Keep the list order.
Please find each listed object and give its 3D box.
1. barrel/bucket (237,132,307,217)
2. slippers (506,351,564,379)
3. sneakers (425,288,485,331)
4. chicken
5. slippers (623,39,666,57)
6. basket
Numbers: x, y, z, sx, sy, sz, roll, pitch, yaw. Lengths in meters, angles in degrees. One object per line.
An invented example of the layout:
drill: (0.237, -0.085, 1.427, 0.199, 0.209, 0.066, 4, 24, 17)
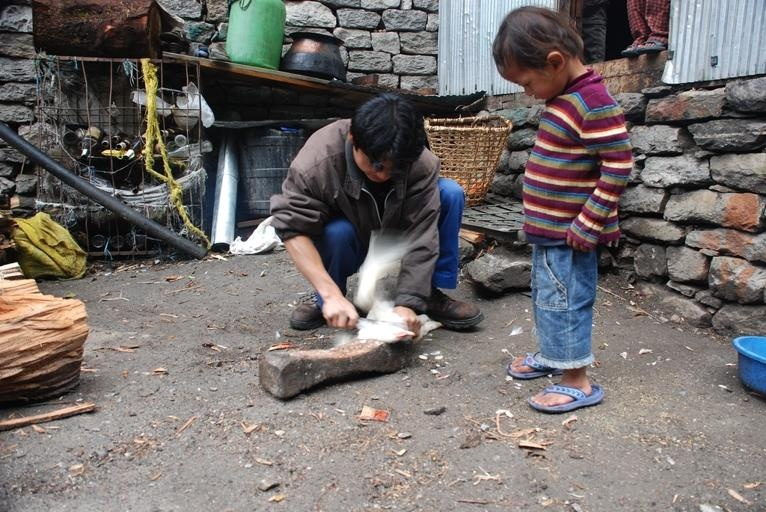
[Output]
barrel/bucket: (-1.296, -0.963, 6.636, 0.776, 0.978, 0.670, -5, 19, -29)
slippers: (0.892, 0.660, 3.455, 0.278, 0.073, 0.145, 1, 14, 3)
sneakers: (0.471, 0.361, 4.113, 0.518, 0.212, 0.197, 9, 30, 33)
chicken: (-0.007, 0.218, 3.735, 0.471, 0.646, 0.537, -2, -1, 37)
slippers: (2.032, -1.572, 4.402, 0.225, 0.062, 0.156, -7, 11, -21)
basket: (0.769, -0.964, 5.691, 0.910, 0.799, 0.841, 3, 18, 7)
